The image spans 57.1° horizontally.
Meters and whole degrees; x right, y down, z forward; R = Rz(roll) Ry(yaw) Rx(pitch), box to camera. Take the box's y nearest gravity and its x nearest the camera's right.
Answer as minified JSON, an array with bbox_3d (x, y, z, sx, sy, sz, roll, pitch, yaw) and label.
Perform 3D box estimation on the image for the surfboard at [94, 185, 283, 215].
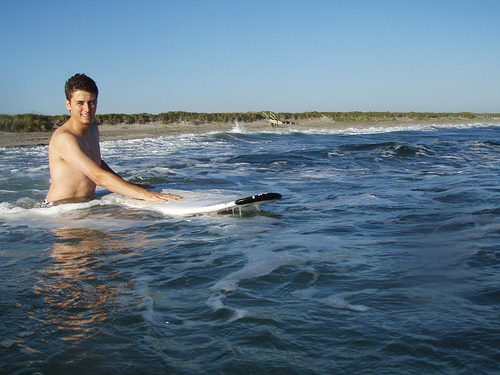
[{"bbox_3d":[-0.812,0.222,6.791,3.784,0.221,0.816,0,0,23],"label":"surfboard"}]

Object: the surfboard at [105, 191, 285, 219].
[{"bbox_3d":[-0.945,0.251,6.739,3.225,0.204,0.730,-2,-1,17],"label":"surfboard"}]

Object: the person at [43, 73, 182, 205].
[{"bbox_3d":[-2.274,-0.677,6.669,1.592,1.860,0.831,3,12,29],"label":"person"}]
